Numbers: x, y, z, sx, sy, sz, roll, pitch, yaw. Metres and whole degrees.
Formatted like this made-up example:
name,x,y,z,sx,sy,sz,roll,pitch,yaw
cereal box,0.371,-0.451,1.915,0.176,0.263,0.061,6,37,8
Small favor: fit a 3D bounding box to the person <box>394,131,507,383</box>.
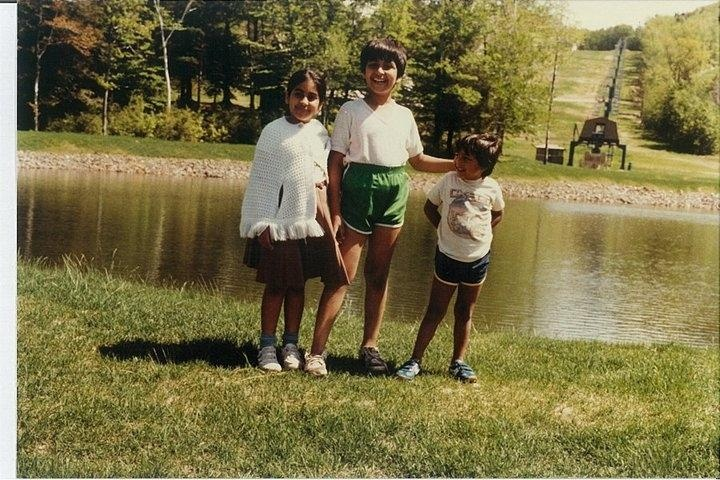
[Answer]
name,x,y,z,sx,sy,sz,roll,pitch,yaw
person,1.354,0.237,11.666,1.060,3.419,0.624,7,8,6
